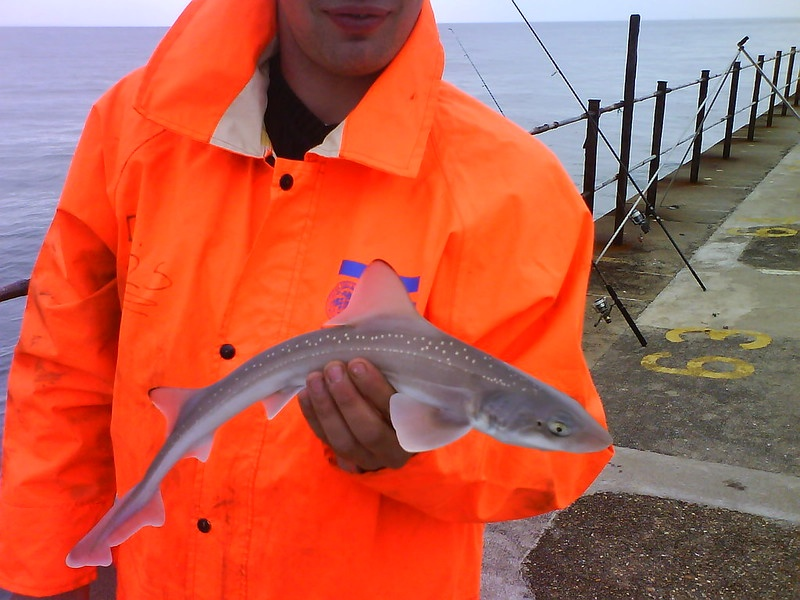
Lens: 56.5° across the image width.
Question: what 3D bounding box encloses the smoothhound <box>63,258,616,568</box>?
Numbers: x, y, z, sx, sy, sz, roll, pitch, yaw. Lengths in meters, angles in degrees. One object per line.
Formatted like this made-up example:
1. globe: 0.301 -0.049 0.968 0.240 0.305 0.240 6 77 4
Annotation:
1. smoothhound: -0.105 0.182 1.392 0.978 0.412 0.240 -2 21 5
